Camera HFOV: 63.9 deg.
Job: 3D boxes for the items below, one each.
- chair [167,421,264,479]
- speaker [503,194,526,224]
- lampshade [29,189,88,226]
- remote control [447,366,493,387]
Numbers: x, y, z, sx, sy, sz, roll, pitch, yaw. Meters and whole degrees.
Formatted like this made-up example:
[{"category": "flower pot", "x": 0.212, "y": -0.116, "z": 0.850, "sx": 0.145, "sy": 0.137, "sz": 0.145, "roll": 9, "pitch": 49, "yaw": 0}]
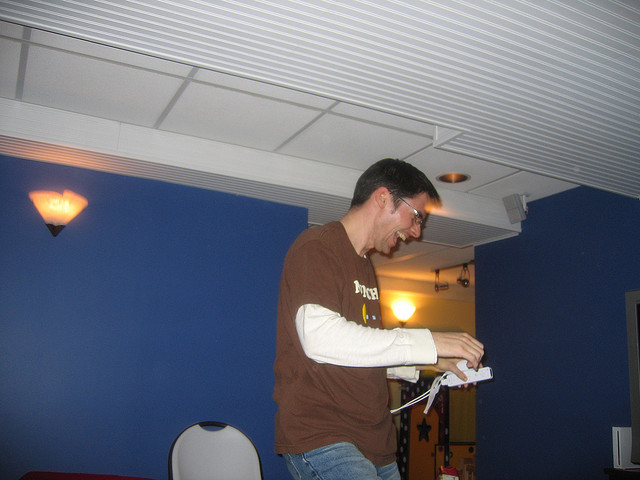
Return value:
[{"category": "chair", "x": -0.741, "y": 1.413, "z": 3.340, "sx": 0.367, "sy": 0.371, "sz": 0.686, "roll": -7, "pitch": -13, "yaw": 31}, {"category": "speaker", "x": 1.993, "y": -0.328, "z": 5.194, "sx": 0.230, "sy": 0.296, "sz": 0.204, "roll": -17, "pitch": -10, "yaw": 2}, {"category": "lampshade", "x": -2.135, "y": -0.284, "z": 4.225, "sx": 0.324, "sy": 0.240, "sz": 0.356, "roll": 5, "pitch": -7, "yaw": 18}, {"category": "remote control", "x": 0.671, "y": 0.645, "z": 2.422, "sx": 0.322, "sy": 0.079, "sz": 0.077, "roll": -13, "pitch": -17, "yaw": 31}]
